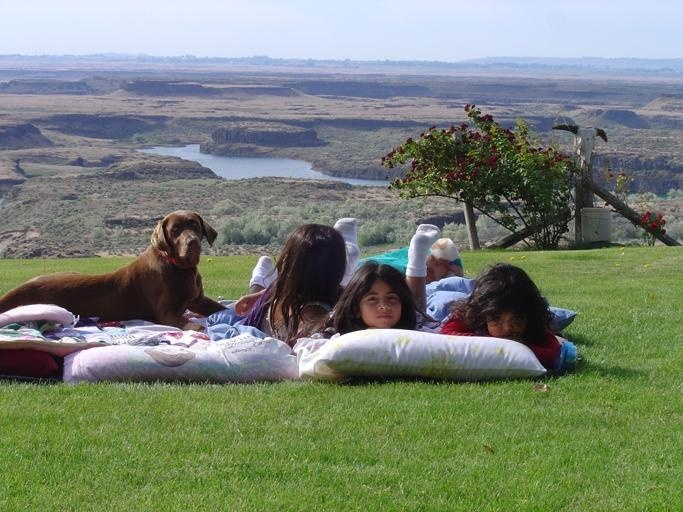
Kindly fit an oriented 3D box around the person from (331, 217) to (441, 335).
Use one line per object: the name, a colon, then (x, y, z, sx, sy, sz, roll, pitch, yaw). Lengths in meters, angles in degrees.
person: (0.480, 0.252, 9.445, 1.105, 0.454, 1.114, 0, 22, 3)
